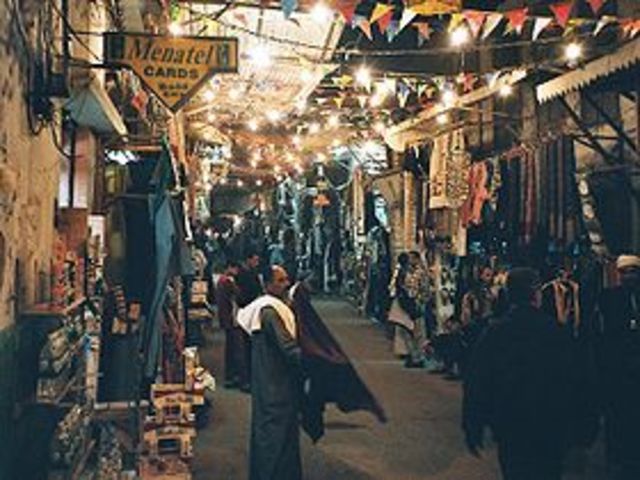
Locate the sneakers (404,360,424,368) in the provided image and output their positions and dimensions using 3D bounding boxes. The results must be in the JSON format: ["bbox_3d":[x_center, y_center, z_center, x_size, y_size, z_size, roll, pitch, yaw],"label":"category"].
[{"bbox_3d":[1.593,2.091,13.146,0.274,0.126,0.123,5,-6,-8],"label":"sneakers"}]
